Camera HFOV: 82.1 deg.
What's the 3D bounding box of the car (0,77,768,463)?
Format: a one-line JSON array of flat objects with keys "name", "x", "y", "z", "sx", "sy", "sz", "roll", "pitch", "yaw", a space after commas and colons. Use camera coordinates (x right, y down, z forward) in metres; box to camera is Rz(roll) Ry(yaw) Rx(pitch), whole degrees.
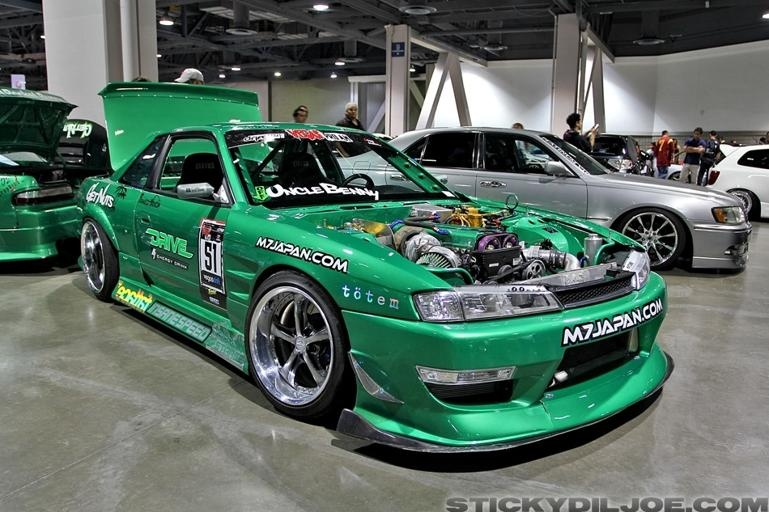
[{"name": "car", "x": -0.985, "y": -0.423, "z": 3.886, "sx": 5.719, "sy": 1.848, "sz": 2.487, "roll": 9, "pitch": 17, "yaw": 35}]
